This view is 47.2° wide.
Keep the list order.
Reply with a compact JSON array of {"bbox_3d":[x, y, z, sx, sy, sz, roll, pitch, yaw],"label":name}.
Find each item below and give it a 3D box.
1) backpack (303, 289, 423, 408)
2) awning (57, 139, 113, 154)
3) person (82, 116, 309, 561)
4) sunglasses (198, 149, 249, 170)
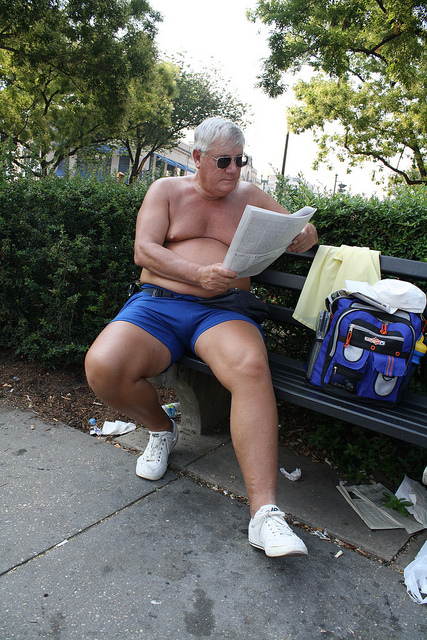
[{"bbox_3d":[0.611,0.108,1.957,0.425,0.411,0.276,10,11,18],"label":"backpack"},{"bbox_3d":[-4.486,-5.971,16.847,1.562,0.415,1.743,13,15,34],"label":"awning"},{"bbox_3d":[-0.088,-0.071,1.990,0.804,1.589,1.147,4,11,-13],"label":"person"},{"bbox_3d":[0.059,-0.714,2.208,0.229,0.086,0.108,1,12,-25],"label":"sunglasses"}]
